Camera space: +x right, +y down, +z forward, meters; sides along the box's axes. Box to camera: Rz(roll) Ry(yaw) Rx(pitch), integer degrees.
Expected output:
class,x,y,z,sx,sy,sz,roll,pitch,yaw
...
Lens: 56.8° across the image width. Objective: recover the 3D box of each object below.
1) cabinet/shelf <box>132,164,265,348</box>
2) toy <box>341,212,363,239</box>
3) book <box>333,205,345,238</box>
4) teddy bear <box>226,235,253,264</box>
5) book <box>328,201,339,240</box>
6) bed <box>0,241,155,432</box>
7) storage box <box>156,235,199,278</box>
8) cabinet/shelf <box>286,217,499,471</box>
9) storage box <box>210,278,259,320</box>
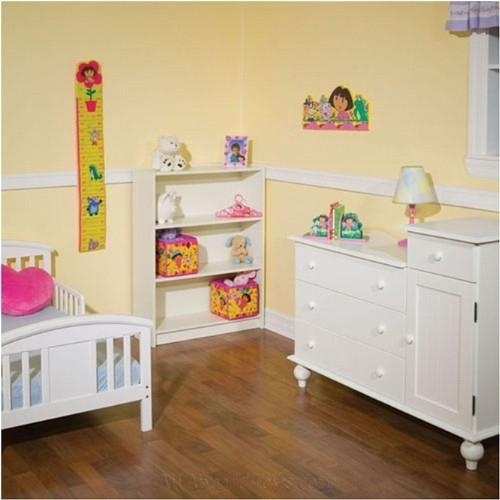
class,x,y,z,sx,sy,sz,roll,pitch,yaw
cabinet/shelf,-0.417,0.058,3.614,1.249,1.760,0.444,-4,7,-34
toy,0.582,-0.136,2.661,0.142,0.197,0.105,5,13,33
book,0.502,-0.155,2.636,0.057,0.160,0.166,3,7,14
teddy bear,-0.087,-0.033,3.933,0.247,0.277,0.217,-5,9,-41
book,0.479,-0.158,2.639,0.071,0.209,0.211,2,8,13
bed,-1.006,0.441,2.683,0.746,0.781,1.225,-5,11,-29
storage box,-0.542,0.011,3.544,0.306,0.309,0.301,-5,10,-31
cabinet/shelf,0.708,0.470,2.247,0.419,0.884,1.010,-3,8,-33
storage box,-0.131,0.398,3.829,0.326,0.289,0.328,-2,4,-26
